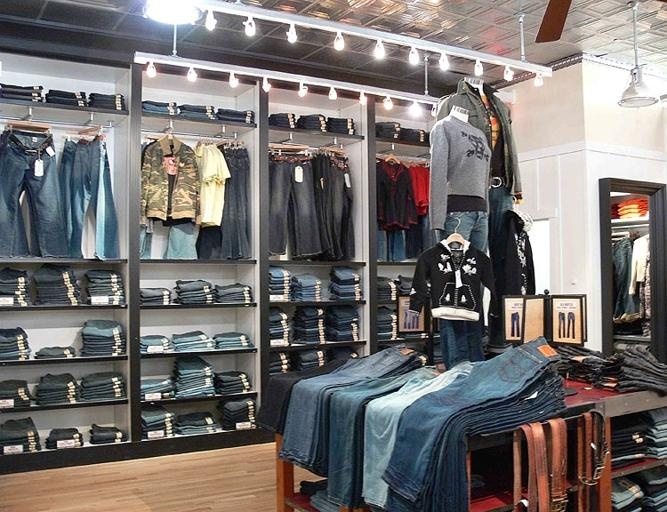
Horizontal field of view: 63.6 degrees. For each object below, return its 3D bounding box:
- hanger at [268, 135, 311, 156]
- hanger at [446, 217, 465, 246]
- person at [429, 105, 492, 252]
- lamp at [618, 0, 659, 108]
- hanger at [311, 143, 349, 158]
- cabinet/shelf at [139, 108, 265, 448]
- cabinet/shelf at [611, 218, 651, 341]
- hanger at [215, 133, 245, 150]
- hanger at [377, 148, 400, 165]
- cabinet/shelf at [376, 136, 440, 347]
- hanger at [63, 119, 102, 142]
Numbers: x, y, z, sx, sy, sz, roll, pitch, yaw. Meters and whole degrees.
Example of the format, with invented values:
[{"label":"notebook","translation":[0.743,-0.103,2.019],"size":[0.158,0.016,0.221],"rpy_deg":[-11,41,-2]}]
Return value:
[{"label":"hanger","translation":[-0.538,-1.317,6.413],"size":[0.388,0.148,0.491],"rpy_deg":[1,-1,-19]},{"label":"hanger","translation":[0.903,-0.183,3.928],"size":[0.239,0.223,0.009],"rpy_deg":[2,-1,-36]},{"label":"person","translation":[0.949,-0.601,4.078],"size":[0.595,1.124,0.244],"rpy_deg":[1,-3,-37]},{"label":"lamp","translation":[3.421,-2.129,6.036],"size":[0.385,0.925,1.474],"rpy_deg":[-2,-3,31]},{"label":"hanger","translation":[-0.047,-1.280,6.613],"size":[0.298,0.101,0.287],"rpy_deg":[1,0,-34]},{"label":"cabinet/shelf","translation":[-1.426,0.199,5.946],"size":[1.334,3.538,0.706],"rpy_deg":[0,-2,-18]},{"label":"cabinet/shelf","translation":[4.580,0.359,8.239],"size":[0.490,1.680,0.925],"rpy_deg":[-2,-3,26]},{"label":"hanger","translation":[-1.176,-1.302,6.204],"size":[0.278,0.095,0.266],"rpy_deg":[-3,8,-30]},{"label":"hanger","translation":[0.724,-1.312,7.048],"size":[0.338,0.144,0.020],"rpy_deg":[13,-35,-15]},{"label":"cabinet/shelf","translation":[0.906,-0.213,6.737],"size":[0.694,2.470,1.627],"rpy_deg":[-1,-2,9]},{"label":"hanger","translation":[-2.604,-1.302,5.653],"size":[0.347,0.092,0.248],"rpy_deg":[-1,1,36]}]
